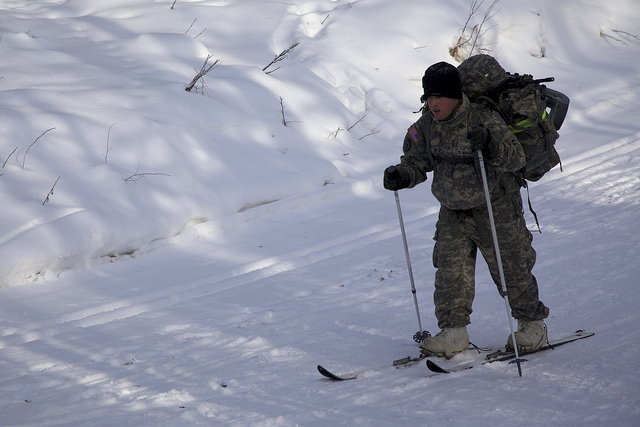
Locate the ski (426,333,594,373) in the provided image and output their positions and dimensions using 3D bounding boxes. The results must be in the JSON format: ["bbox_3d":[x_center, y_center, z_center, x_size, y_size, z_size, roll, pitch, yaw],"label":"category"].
[{"bbox_3d":[2.276,1.646,10.191,2.162,0.114,0.193,-9,19,-14],"label":"ski"}]

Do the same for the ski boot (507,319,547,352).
[{"bbox_3d":[2.488,1.425,10.422,0.417,0.307,0.738,5,9,32],"label":"ski boot"}]

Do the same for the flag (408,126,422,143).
[{"bbox_3d":[1.161,-0.953,10.441,0.080,0.185,0.129,-22,19,-14],"label":"flag"}]
